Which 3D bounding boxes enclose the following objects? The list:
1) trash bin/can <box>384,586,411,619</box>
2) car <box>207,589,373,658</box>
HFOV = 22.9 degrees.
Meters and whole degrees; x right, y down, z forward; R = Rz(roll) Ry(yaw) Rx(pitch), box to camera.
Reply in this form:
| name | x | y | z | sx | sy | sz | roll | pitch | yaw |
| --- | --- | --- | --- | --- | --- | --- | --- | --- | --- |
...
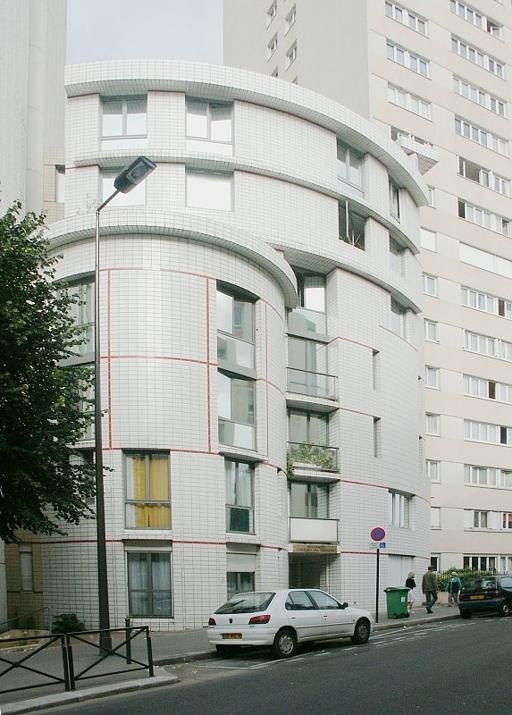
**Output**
| name | x | y | z | sx | sy | sz | roll | pitch | yaw |
| --- | --- | --- | --- | --- | --- | --- | --- | --- | --- |
| trash bin/can | 3.957 | 6.641 | 34.063 | 0.722 | 1.033 | 0.768 | 4 | -7 | -33 |
| car | 0.690 | 5.103 | 24.871 | 1.320 | 1.012 | 2.912 | -14 | -15 | 43 |
